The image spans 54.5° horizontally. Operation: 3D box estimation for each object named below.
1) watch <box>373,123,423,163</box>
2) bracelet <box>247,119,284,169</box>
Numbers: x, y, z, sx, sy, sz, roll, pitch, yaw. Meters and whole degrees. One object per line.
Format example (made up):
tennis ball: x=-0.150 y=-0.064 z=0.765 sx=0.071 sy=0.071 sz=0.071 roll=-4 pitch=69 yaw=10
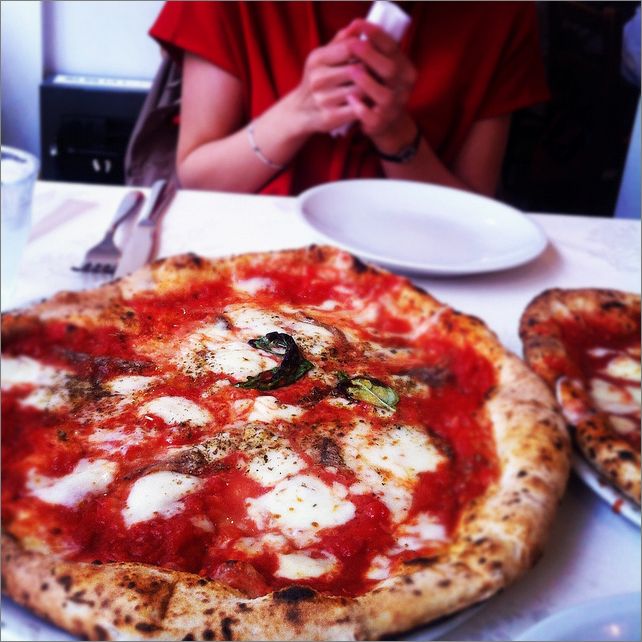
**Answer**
watch: x=0.160 y=-0.356 z=1.294 sx=0.080 sy=0.032 sz=0.080 roll=-35 pitch=2 yaw=-22
bracelet: x=-0.122 y=-0.355 z=1.277 sx=0.094 sy=0.079 sz=0.043 roll=17 pitch=30 yaw=18
